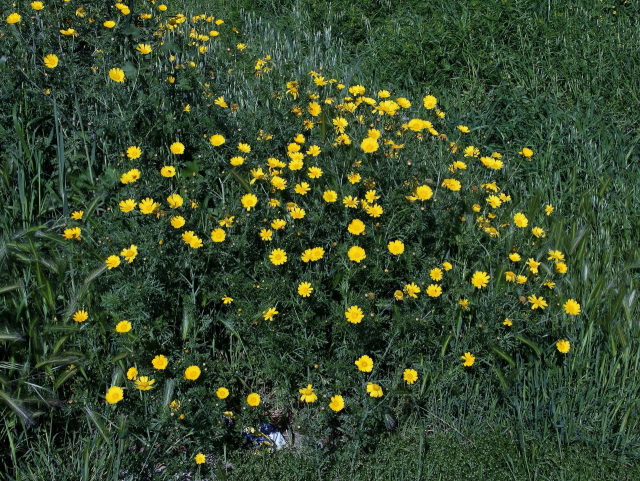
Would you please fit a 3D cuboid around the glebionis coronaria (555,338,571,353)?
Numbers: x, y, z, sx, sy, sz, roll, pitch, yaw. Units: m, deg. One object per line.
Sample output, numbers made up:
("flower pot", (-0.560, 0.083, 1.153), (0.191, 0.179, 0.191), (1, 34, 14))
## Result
("glebionis coronaria", (1.583, 0.684, 3.950), (0.090, 0.086, 0.045), (57, 4, 23))
